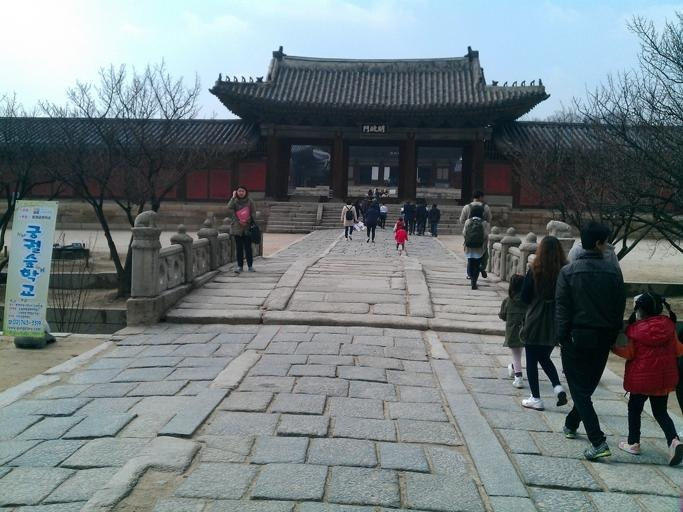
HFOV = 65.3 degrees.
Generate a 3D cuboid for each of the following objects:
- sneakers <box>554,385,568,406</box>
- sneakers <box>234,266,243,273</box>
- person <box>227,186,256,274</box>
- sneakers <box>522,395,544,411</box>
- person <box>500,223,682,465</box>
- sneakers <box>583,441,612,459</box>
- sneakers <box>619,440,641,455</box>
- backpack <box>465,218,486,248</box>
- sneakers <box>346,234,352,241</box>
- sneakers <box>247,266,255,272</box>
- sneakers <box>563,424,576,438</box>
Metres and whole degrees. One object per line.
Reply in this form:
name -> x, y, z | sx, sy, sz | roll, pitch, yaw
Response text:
sneakers -> 1.994, 1.266, 4.875 | 0.096, 0.191, 0.133 | -8, 35, 3
sneakers -> -1.929, 0.257, 9.960 | 0.084, 0.081, 0.195 | 3, -5, 14
person -> -1.863, -0.512, 10.025 | 0.470, 1.580, 0.815 | 0, 10, -11
sneakers -> 1.731, 1.324, 4.890 | 0.092, 0.093, 0.213 | -4, 6, -28
person -> 2.006, 0.604, 4.268 | 0.663, 1.742, 1.215 | -1, 10, -15
sneakers -> 1.909, 1.459, 4.048 | 0.255, 0.127, 0.097 | -13, -13, 33
sneakers -> 2.236, 1.463, 4.127 | 0.065, 0.058, 0.140 | 0, 6, -7
backpack -> 2.309, -0.392, 9.173 | 0.373, 0.515, 0.369 | 2, 10, 0
sneakers -> 0.239, -0.606, 17.372 | 0.090, 0.162, 0.272 | 0, 13, 22
sneakers -> -1.701, 0.239, 9.999 | 0.093, 0.100, 0.243 | -1, -3, -15
sneakers -> 1.861, 1.423, 4.360 | 0.047, 0.052, 0.119 | 2, 3, 12
